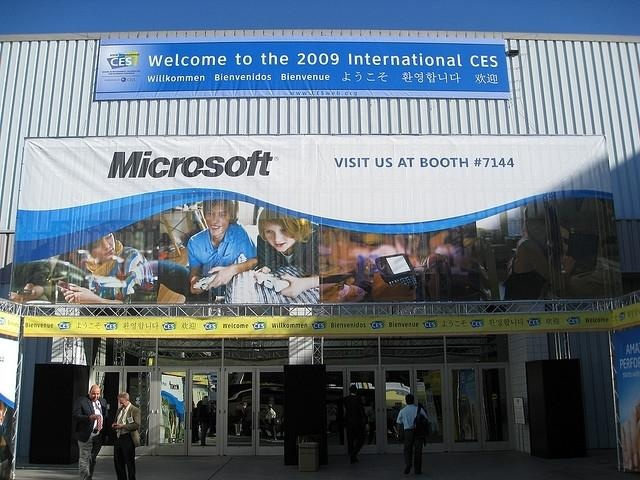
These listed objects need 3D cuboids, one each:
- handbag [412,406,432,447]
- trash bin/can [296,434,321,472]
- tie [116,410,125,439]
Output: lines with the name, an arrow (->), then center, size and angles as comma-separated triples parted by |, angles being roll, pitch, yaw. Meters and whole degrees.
handbag -> 2.258, 4.074, 14.327 | 0.271, 1.009, 0.589 | 2, 7, 14
trash bin/can -> -0.328, 4.956, 14.970 | 0.617, 0.868, 0.604 | 2, -11, -17
tie -> -3.912, 3.558, 12.573 | 0.184, 0.521, 0.292 | -2, 7, -17
